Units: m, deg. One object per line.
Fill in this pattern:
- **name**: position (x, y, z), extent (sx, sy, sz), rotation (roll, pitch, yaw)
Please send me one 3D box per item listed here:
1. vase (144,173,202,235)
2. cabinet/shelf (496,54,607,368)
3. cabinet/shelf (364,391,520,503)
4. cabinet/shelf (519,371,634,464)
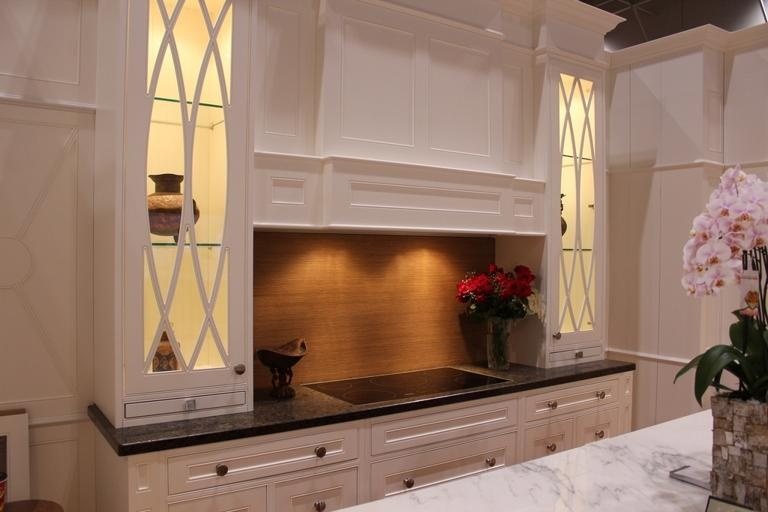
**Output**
- **vase**: position (-1.142, -0.255, 2.985), extent (0.284, 0.327, 0.285), rotation (8, 12, 31)
- **cabinet/shelf**: position (1.362, -0.334, 4.190), extent (0.742, 2.300, 0.377), rotation (-1, 3, -17)
- **cabinet/shelf**: position (0.320, 1.160, 3.657), extent (1.099, 0.739, 0.601), rotation (-6, 18, -14)
- **cabinet/shelf**: position (1.204, 1.044, 3.593), extent (0.537, 0.505, 0.208), rotation (1, -3, -35)
